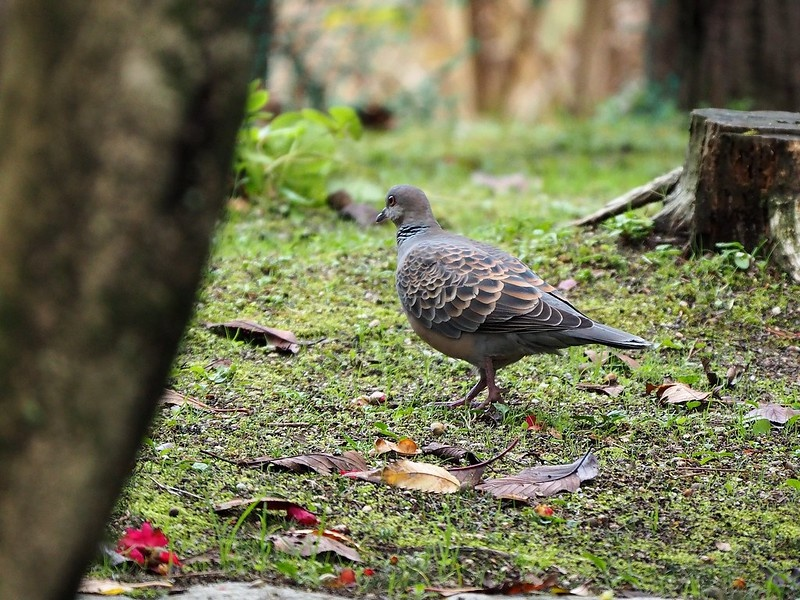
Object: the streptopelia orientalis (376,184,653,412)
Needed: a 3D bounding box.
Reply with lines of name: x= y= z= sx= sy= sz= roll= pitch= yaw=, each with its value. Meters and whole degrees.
streptopelia orientalis: x=0.424 y=-0.015 z=4.256 sx=1.425 sy=0.928 sz=0.547 roll=6 pitch=5 yaw=36
